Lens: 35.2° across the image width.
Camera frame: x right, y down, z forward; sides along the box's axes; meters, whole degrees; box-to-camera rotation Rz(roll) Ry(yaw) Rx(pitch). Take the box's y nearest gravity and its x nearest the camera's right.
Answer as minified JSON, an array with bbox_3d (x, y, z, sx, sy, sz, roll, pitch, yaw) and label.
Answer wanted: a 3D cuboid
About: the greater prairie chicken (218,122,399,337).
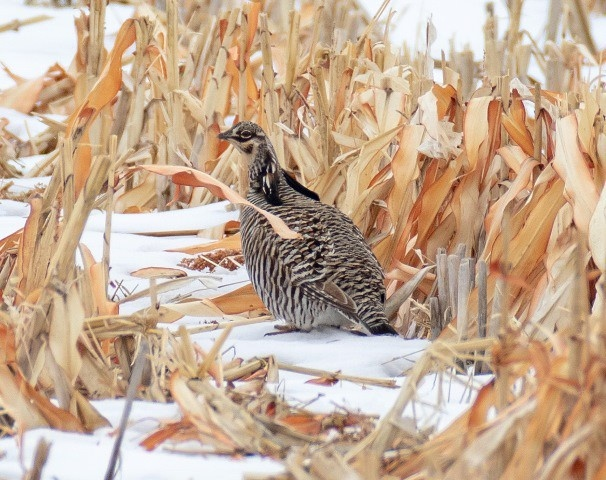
[{"bbox_3d":[0.031,0.001,3.831,0.976,0.644,0.448,25,28,26],"label":"greater prairie chicken"}]
